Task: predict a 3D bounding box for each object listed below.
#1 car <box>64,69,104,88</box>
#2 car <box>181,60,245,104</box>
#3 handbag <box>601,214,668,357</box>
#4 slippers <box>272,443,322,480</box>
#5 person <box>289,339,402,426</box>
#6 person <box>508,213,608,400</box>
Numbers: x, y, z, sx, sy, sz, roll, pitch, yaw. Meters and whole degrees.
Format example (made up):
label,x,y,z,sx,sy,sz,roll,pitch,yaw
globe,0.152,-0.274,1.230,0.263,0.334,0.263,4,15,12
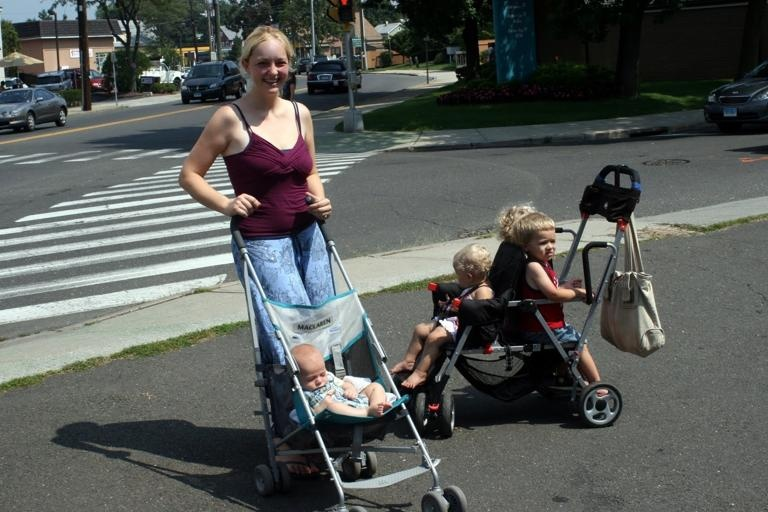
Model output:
label,x,y,z,sx,sy,sz,roll,pitch,yaw
car,-22.982,-13.621,62.607,3.385,1.889,1.975,-5,14,-16
car,-8.784,-9.270,43.019,2.212,1.778,4.061,-1,6,12
handbag,2.160,0.288,7.028,0.500,1.187,0.457,-1,19,-1
slippers,-0.701,1.632,6.508,0.511,0.221,0.161,-1,2,40
person,-0.318,0.954,6.352,0.772,0.467,0.577,0,3,33
person,1.483,0.367,7.076,0.830,1.454,0.440,4,20,14
